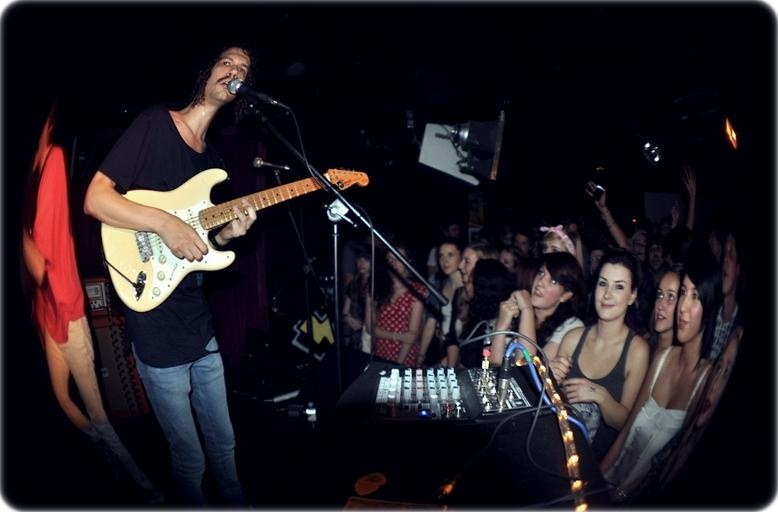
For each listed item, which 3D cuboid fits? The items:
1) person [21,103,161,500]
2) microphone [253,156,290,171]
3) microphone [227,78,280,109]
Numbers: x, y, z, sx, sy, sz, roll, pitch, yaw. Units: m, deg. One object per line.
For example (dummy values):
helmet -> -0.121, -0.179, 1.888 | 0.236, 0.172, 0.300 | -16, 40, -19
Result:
person -> -2.405, 0.250, 3.990 | 1.066, 2.785, 0.319 | -8, 2, -36
microphone -> -0.775, -0.609, 3.508 | 0.217, 0.079, 0.394 | 3, 10, -15
microphone -> -0.848, -1.041, 3.369 | 0.462, 0.163, 0.169 | 11, 11, 28
